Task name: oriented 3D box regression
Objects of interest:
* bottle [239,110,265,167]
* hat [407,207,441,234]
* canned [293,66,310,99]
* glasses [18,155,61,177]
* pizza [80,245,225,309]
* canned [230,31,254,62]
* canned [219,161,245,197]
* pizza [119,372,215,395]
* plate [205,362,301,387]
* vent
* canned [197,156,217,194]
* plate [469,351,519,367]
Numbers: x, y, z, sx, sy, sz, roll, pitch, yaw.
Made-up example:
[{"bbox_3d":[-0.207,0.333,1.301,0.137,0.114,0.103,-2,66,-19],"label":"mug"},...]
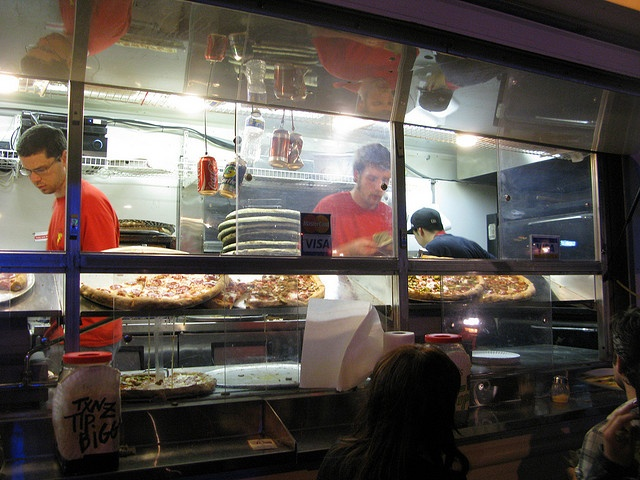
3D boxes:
[{"bbox_3d":[-0.350,-0.537,2.833,0.109,0.297,0.110,0,0,0],"label":"bottle"},{"bbox_3d":[0.795,-0.150,4.101,0.173,0.141,0.248,-2,4,-9],"label":"hat"},{"bbox_3d":[-0.092,-0.784,2.716,0.061,0.121,0.162,0,1,-3],"label":"canned"},{"bbox_3d":[-1.352,-0.367,2.655,0.172,0.052,0.177,4,43,28],"label":"glasses"},{"bbox_3d":[-0.765,0.117,2.503,0.373,0.077,0.381,13,12,32],"label":"pizza"},{"bbox_3d":[-0.353,-0.887,2.504,0.083,0.082,0.093,2,-42,0],"label":"canned"},{"bbox_3d":[-0.445,-0.316,2.754,0.151,0.194,0.083,0,0,37],"label":"canned"},{"bbox_3d":[-0.700,0.665,2.547,0.421,0.066,0.234,-1,1,-19],"label":"pizza"},{"bbox_3d":[-0.315,0.667,2.684,0.446,0.106,0.156,0,1,-14],"label":"plate"},{"bbox_3d":[-0.146,-0.130,2.695,0.486,0.441,0.157,1,-20,-3],"label":"vent"},{"bbox_3d":[-0.563,-0.336,2.758,0.086,0.203,0.092,0,0,-21],"label":"canned"},{"bbox_3d":[0.948,0.653,2.997,0.171,0.033,0.169,-1,-3,9],"label":"plate"}]
